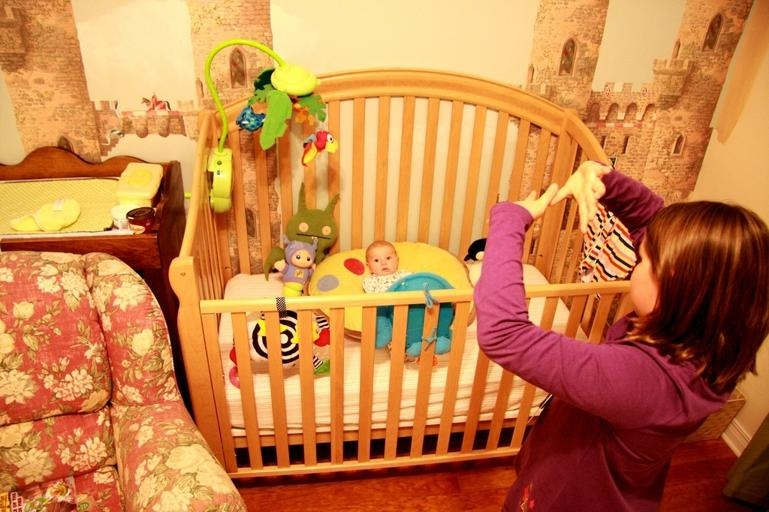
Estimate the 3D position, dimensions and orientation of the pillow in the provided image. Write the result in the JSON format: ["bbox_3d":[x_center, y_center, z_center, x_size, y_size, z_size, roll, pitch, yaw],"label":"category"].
[{"bbox_3d":[0.024,0.158,2.862,0.817,0.247,1.059,6,-9,25],"label":"pillow"}]

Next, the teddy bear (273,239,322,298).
[{"bbox_3d":[-0.399,0.058,2.422,0.255,0.302,0.130,4,6,-24],"label":"teddy bear"}]

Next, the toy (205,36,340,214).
[{"bbox_3d":[-0.487,-0.552,2.229,0.549,0.719,0.413,-1,19,-11],"label":"toy"}]
